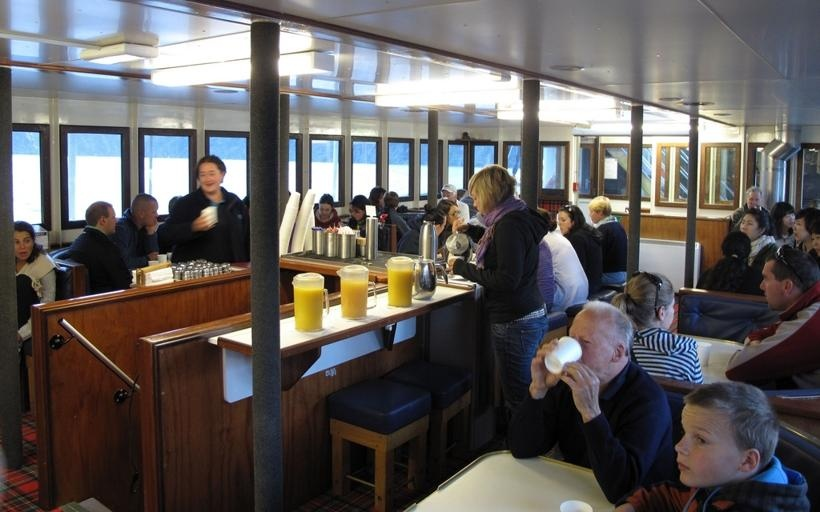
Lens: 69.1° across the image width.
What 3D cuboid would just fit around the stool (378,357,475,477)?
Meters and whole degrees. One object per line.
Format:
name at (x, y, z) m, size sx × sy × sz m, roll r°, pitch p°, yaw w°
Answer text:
stool at (0.224, 0.954, 3.977) m, size 0.651 × 0.824 × 0.655 m, roll 2°, pitch 3°, yaw 35°

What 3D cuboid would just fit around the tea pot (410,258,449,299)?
tea pot at (0.131, 0.153, 3.810) m, size 0.287 × 0.246 × 0.169 m, roll 6°, pitch 0°, yaw -29°

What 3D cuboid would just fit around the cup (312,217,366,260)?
cup at (-0.548, -0.091, 4.433) m, size 0.382 × 0.184 × 0.213 m, roll 6°, pitch 6°, yaw 40°

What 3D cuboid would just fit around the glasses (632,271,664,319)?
glasses at (1.208, 0.171, 2.989) m, size 0.050 × 0.177 × 0.133 m, roll 6°, pitch -4°, yaw -36°

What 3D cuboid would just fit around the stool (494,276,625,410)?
stool at (0.707, 0.439, 2.526) m, size 0.450 × 0.446 × 0.310 m, roll 0°, pitch 7°, yaw 18°

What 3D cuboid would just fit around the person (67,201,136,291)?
person at (-2.540, -0.069, 4.805) m, size 0.412 × 0.707 × 0.380 m, roll -7°, pitch 8°, yaw -30°

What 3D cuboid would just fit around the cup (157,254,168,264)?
cup at (-2.382, 0.037, 5.660) m, size 0.075 × 0.080 × 0.112 m, roll -3°, pitch -5°, yaw 17°

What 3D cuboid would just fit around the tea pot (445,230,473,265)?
tea pot at (0.345, -0.059, 4.045) m, size 0.149 × 0.183 × 0.189 m, roll 4°, pitch 1°, yaw 20°

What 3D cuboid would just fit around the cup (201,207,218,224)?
cup at (-1.506, -0.295, 4.427) m, size 0.109 × 0.120 × 0.230 m, roll -5°, pitch 8°, yaw -19°

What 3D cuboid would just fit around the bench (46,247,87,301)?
bench at (-2.664, 0.160, 4.588) m, size 0.265 × 0.468 × 0.347 m, roll -5°, pitch 12°, yaw -39°

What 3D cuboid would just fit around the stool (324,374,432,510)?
stool at (-0.196, 1.131, 3.618) m, size 0.522 × 0.692 × 0.450 m, roll 3°, pitch 9°, yaw 41°

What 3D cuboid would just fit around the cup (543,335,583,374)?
cup at (0.628, 0.390, 2.466) m, size 0.144 × 0.149 × 0.156 m, roll 1°, pitch 14°, yaw 0°

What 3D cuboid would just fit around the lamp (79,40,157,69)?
lamp at (-1.845, -1.235, 3.717) m, size 0.392 × 0.113 × 0.872 m, roll -7°, pitch 8°, yaw -30°

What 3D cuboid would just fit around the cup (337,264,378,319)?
cup at (-0.305, 0.205, 3.305) m, size 0.171 × 0.285 × 0.123 m, roll -6°, pitch 8°, yaw -27°

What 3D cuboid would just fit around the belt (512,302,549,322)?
belt at (0.747, 0.365, 3.617) m, size 0.127 × 0.034 × 0.129 m, roll -21°, pitch -7°, yaw 37°

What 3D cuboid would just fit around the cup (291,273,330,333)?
cup at (-0.528, 0.248, 3.095) m, size 0.151 × 0.294 × 0.096 m, roll -6°, pitch 8°, yaw -23°

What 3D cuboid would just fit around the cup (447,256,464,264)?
cup at (0.285, 0.032, 3.918) m, size 0.079 × 0.039 × 0.057 m, roll 1°, pitch 3°, yaw -12°

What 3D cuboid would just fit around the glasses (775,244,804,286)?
glasses at (2.146, 0.059, 3.384) m, size 0.175 × 0.051 × 0.166 m, roll 35°, pitch 17°, yaw -5°

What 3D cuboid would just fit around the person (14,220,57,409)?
person at (-2.930, 0.246, 4.588) m, size 0.299 × 0.999 × 0.285 m, roll -9°, pitch 9°, yaw -42°

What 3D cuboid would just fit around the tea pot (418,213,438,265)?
tea pot at (0.104, -0.107, 3.971) m, size 0.108 × 0.306 × 0.286 m, roll -2°, pitch 7°, yaw 5°

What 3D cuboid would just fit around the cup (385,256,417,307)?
cup at (-0.055, 0.160, 3.552) m, size 0.174 × 0.286 × 0.137 m, roll -6°, pitch 8°, yaw -22°
